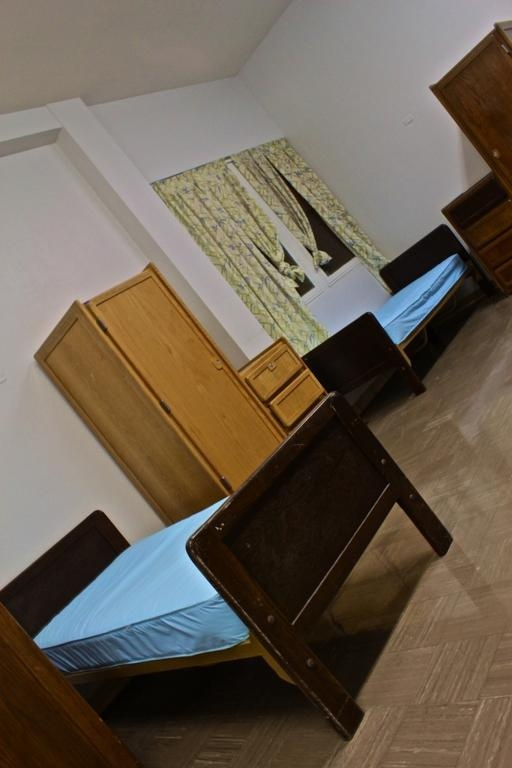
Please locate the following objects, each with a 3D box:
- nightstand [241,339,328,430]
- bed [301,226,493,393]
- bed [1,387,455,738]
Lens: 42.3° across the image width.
[{"bbox_3d":[0.161,0.008,3.809,0.226,0.391,0.423,-27,19,44],"label":"nightstand"},{"bbox_3d":[1.190,-0.436,4.703,0.988,0.715,1.714,-14,25,49],"label":"bed"},{"bbox_3d":[-0.023,0.728,2.333,1.280,0.725,0.812,-43,-1,43],"label":"bed"}]
